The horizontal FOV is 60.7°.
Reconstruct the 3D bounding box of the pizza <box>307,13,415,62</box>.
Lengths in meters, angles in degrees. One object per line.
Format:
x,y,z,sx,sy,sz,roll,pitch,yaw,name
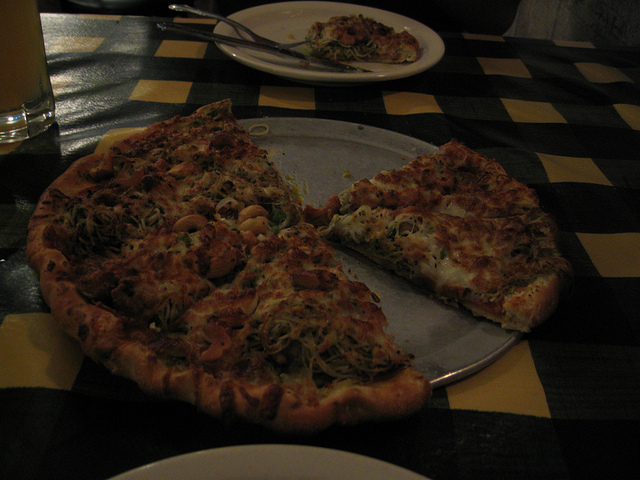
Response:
0.193,-0.875,2.372,0.356,0.081,0.253,9,41,5,pizza

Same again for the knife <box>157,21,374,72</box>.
-0.217,-0.809,2.309,0.758,0.032,0.139,18,29,-1,knife
